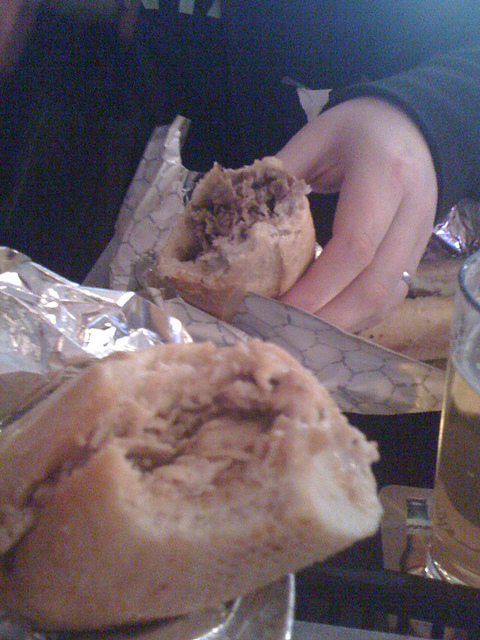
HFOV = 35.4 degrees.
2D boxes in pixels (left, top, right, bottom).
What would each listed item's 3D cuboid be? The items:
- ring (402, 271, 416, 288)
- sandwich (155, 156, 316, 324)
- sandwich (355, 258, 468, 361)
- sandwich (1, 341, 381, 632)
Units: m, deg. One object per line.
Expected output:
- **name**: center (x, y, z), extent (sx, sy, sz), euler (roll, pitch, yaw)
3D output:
- **ring**: center (0.141, -0.033, 0.631), extent (0.008, 0.015, 0.004), euler (-46, 29, -20)
- **sandwich**: center (-0.005, -0.063, 0.557), extent (0.087, 0.147, 0.077), euler (11, 17, 39)
- **sandwich**: center (0.136, -0.009, 0.637), extent (0.096, 0.026, 0.066), euler (2, 93, -1)
- **sandwich**: center (-0.024, 0.064, 0.339), extent (0.183, 0.047, 0.129), euler (-20, 65, -16)
